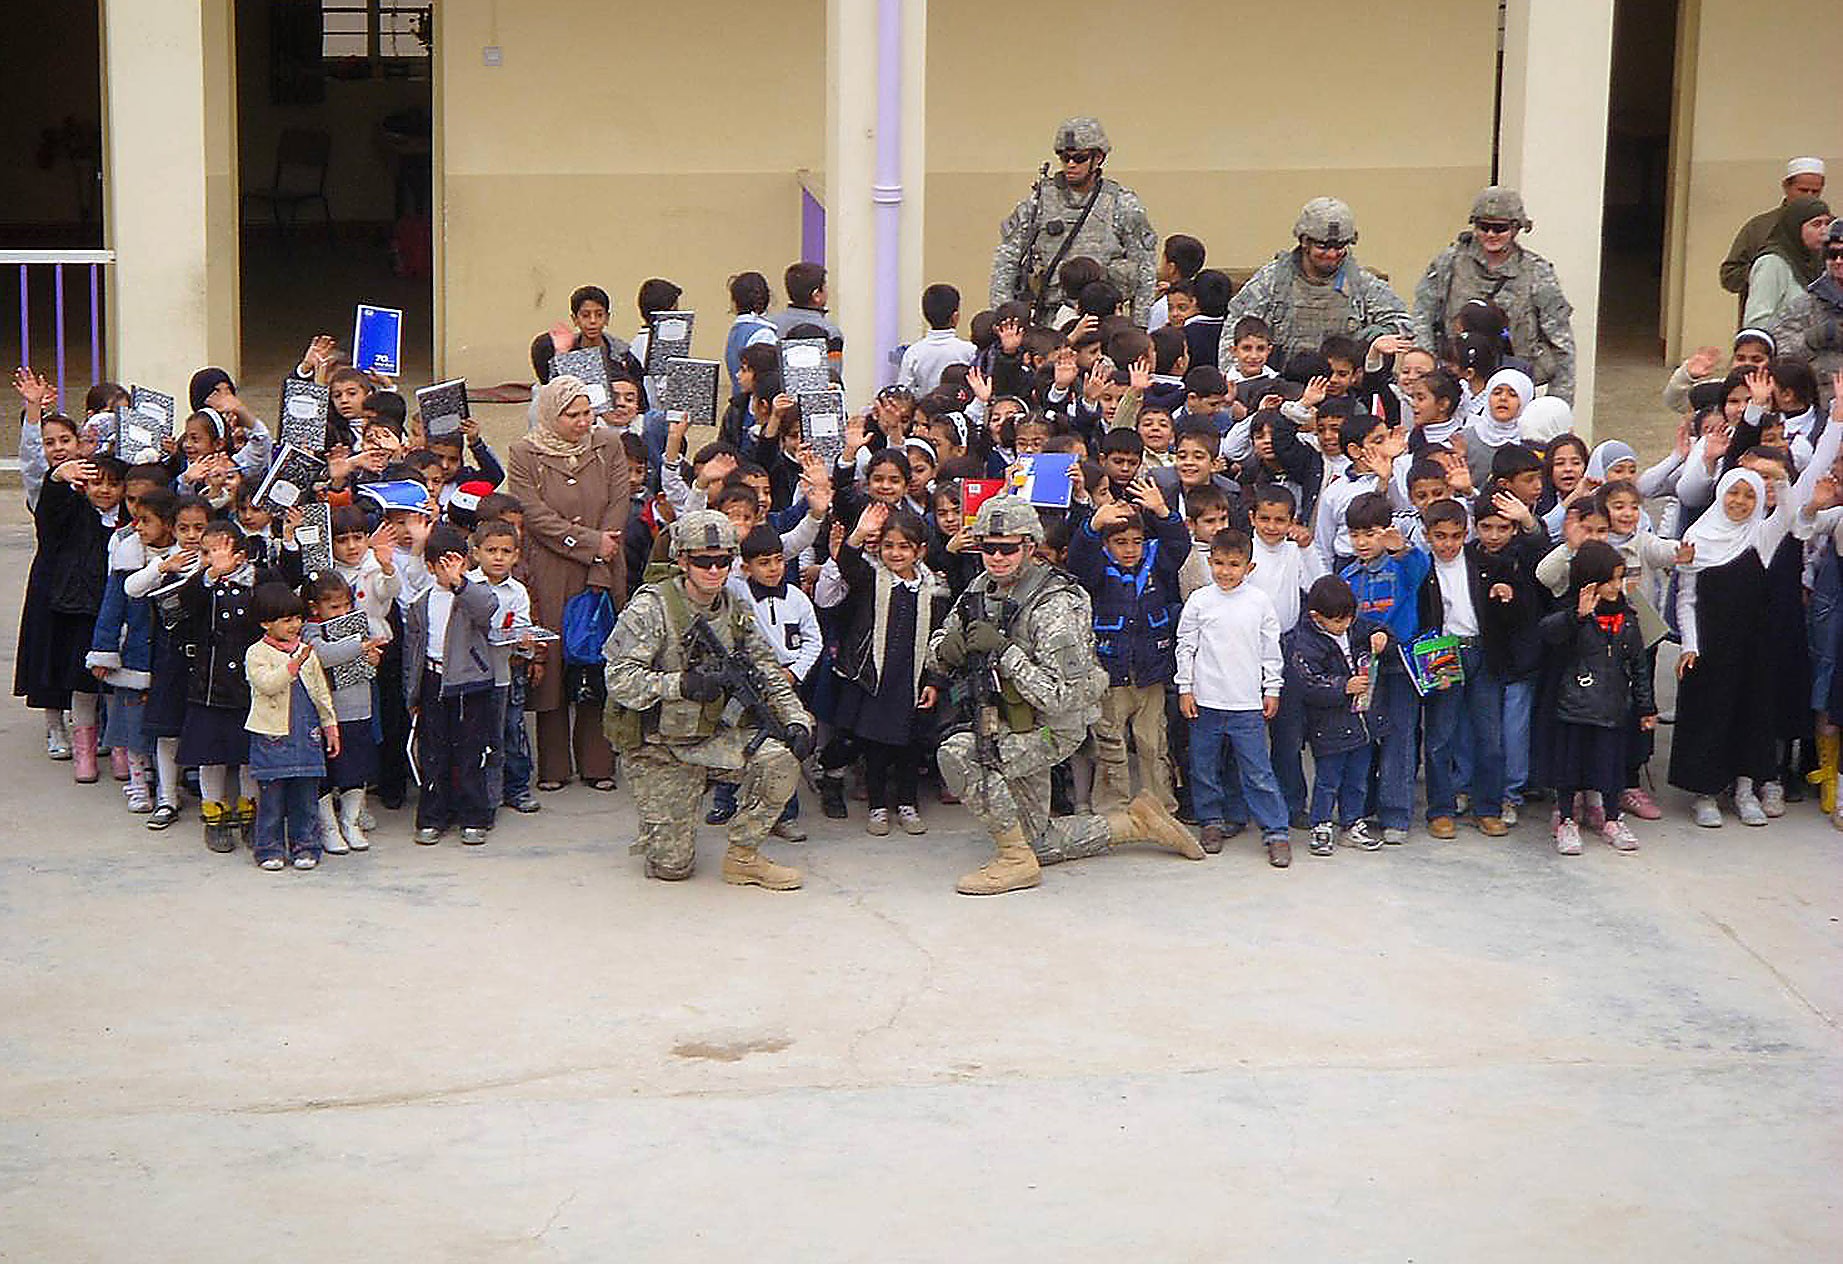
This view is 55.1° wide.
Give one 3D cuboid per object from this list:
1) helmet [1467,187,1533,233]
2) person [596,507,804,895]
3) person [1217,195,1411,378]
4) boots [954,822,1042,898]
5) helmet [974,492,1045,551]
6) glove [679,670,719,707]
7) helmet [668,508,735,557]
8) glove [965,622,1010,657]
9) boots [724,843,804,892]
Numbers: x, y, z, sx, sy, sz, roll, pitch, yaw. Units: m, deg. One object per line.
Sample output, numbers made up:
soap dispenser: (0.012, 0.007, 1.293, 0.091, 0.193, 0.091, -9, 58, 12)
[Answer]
helmet: (3.421, -2.509, 10.509, 0.325, 0.211, 0.404, 3, 8, 15)
person: (-0.981, 0.423, 7.946, 0.902, 1.499, 0.384, -1, 5, -8)
person: (2.310, -1.918, 10.491, 1.257, 1.147, 0.877, 4, 24, 2)
boots: (0.260, 1.063, 8.018, 0.522, 0.317, 0.194, -1, 1, -4)
helmet: (0.363, -0.489, 7.963, 0.312, 0.199, 0.400, 0, -3, 5)
glove: (-0.988, 0.252, 7.807, 0.124, 0.155, 0.198, 2, 5, 34)
helmet: (-0.989, -0.432, 7.772, 0.206, 0.134, 0.233, -1, -2, -9)
glove: (0.282, 0.038, 7.943, 0.172, 0.154, 0.107, 1, 5, 15)
boots: (-0.761, 1.074, 8.025, 0.424, 0.256, 0.157, 2, 4, 2)
